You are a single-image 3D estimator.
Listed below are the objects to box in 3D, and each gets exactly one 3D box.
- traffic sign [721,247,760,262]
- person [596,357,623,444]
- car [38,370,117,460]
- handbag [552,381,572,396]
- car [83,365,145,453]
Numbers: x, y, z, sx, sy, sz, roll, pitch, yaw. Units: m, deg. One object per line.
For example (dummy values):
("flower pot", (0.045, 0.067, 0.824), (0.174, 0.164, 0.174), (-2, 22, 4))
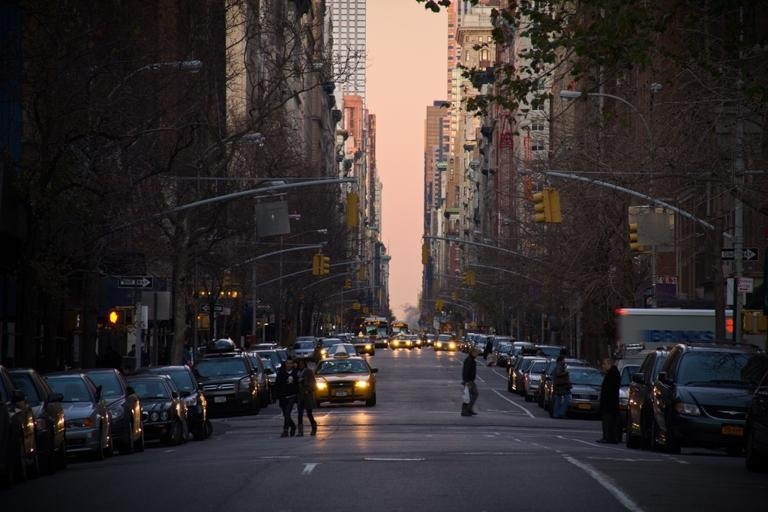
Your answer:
("traffic sign", (11.808, -0.096, 37.643), (1.874, 0.412, 0.506), (2, -5, -39))
("person", (5.955, 3.807, 29.636), (0.743, 2.251, 0.897), (0, -1, 10))
("car", (-7.380, 3.652, 26.682), (1.423, 1.585, 3.515), (0, -2, -9))
("handbag", (6.216, 4.643, 39.357), (0.633, 0.518, 0.893), (-2, -4, 11))
("car", (-6.607, 3.741, 27.696), (0.937, 1.058, 2.362), (0, -10, -1))
